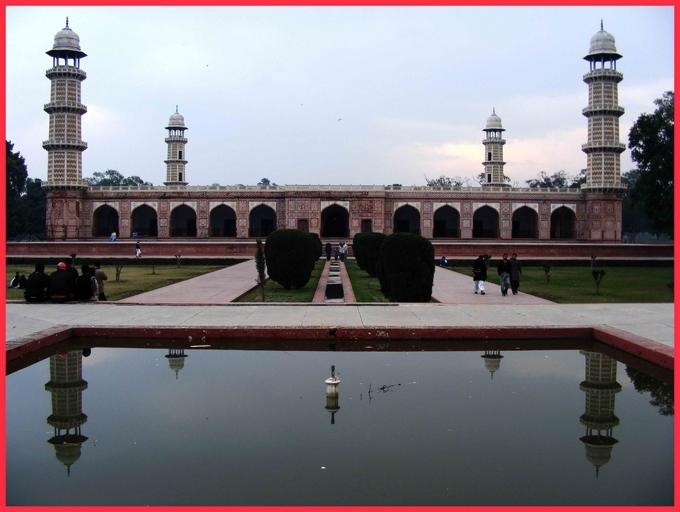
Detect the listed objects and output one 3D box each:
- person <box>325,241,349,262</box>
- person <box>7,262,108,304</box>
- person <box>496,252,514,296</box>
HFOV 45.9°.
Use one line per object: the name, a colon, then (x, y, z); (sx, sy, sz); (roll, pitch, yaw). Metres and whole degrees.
person: (-0.114, -0.214, 28.897); (0.767, 0.880, 0.888); (0, -9, -1)
person: (-5.278, 0.499, 15.345); (1.457, 0.741, 0.592); (-3, 6, -18)
person: (3.534, 0.390, 17.087); (0.263, 0.871, 1.215); (0, 6, 11)
